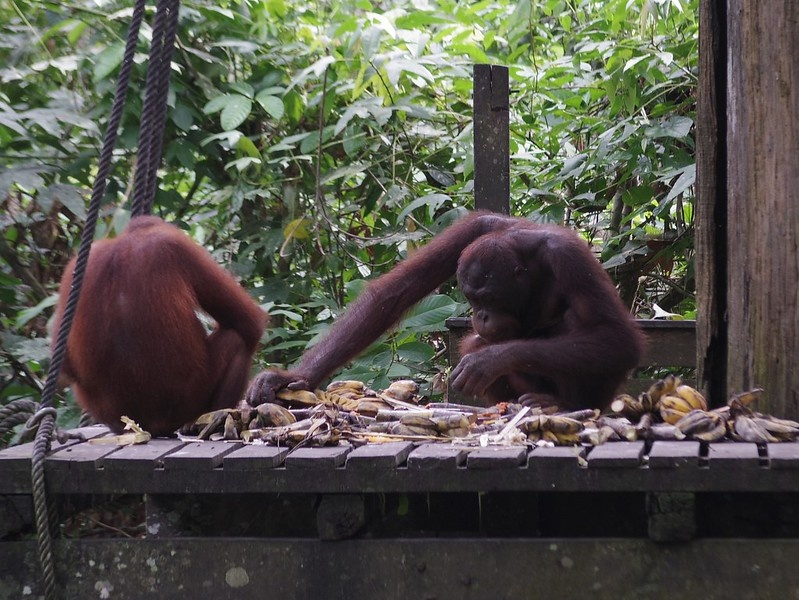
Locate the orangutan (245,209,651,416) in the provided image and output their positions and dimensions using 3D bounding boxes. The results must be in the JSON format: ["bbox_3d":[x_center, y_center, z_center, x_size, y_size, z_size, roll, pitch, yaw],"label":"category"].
[{"bbox_3d":[0.132,-0.035,3.058,0.959,0.560,0.641,-8,13,-40],"label":"orangutan"}]

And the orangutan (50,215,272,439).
[{"bbox_3d":[-0.749,0.101,3.150,0.712,0.755,0.419,-10,-13,4],"label":"orangutan"}]
